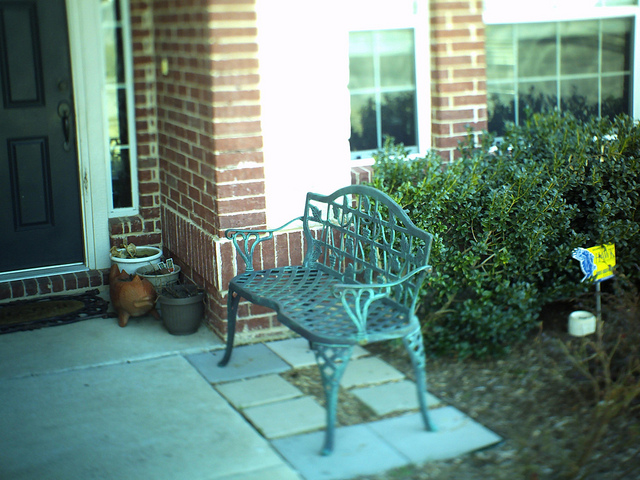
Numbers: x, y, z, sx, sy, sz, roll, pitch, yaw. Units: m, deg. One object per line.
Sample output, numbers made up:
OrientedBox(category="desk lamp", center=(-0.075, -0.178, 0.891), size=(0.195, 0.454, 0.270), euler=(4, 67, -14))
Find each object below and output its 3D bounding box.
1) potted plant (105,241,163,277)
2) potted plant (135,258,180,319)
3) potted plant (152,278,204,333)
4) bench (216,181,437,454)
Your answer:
OrientedBox(category="potted plant", center=(-1.627, 0.154, 5.505), size=(0.366, 0.124, 0.329), euler=(2, 10, -11))
OrientedBox(category="potted plant", center=(-1.357, 0.384, 5.403), size=(0.459, 0.432, 0.433), euler=(-5, 13, -23))
OrientedBox(category="potted plant", center=(-1.090, 0.564, 4.966), size=(0.380, 0.298, 0.425), euler=(-4, 3, -33))
OrientedBox(category="bench", center=(-0.027, 0.324, 4.038), size=(0.764, 1.269, 1.644), euler=(-10, 16, -28))
